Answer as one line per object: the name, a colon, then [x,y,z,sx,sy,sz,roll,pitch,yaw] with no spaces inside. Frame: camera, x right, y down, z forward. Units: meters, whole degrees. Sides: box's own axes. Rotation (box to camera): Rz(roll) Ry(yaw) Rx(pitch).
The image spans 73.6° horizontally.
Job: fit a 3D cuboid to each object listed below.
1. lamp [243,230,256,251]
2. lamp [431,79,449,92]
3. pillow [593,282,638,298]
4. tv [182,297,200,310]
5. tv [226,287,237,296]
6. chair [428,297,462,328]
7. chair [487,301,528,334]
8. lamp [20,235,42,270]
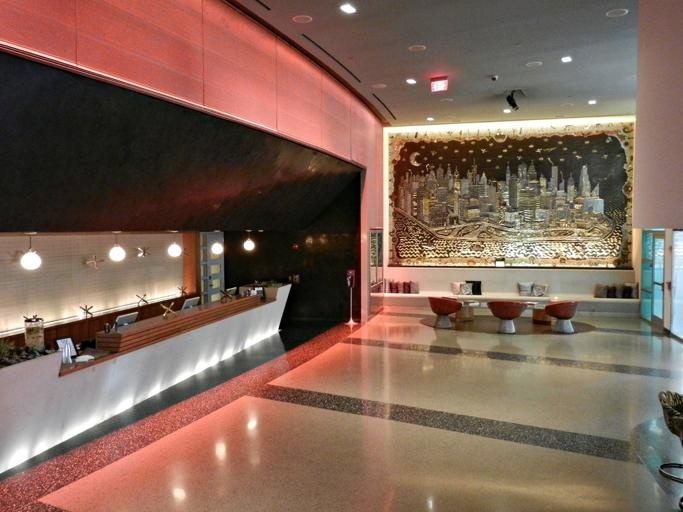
lamp: [-2.330,-0.351,11.541,0.345,0.613,1.010,-2,7,-12]
lamp: [1.950,-3.414,9.133,0.340,0.168,0.422,0,7,8]
pillow: [7.127,0.904,11.890,0.527,0.161,0.529,11,52,46]
tv: [-2.874,0.896,8.740,0.201,0.242,0.257,31,25,21]
tv: [-2.341,0.744,9.762,0.163,0.180,0.268,14,6,35]
chair: [2.531,1.310,11.172,0.721,0.710,0.771,-6,-6,12]
chair: [3.718,1.389,10.447,0.788,0.622,0.770,5,-3,-5]
lamp: [-4.557,-0.070,6.707,0.249,0.478,0.245,-5,-6,4]
